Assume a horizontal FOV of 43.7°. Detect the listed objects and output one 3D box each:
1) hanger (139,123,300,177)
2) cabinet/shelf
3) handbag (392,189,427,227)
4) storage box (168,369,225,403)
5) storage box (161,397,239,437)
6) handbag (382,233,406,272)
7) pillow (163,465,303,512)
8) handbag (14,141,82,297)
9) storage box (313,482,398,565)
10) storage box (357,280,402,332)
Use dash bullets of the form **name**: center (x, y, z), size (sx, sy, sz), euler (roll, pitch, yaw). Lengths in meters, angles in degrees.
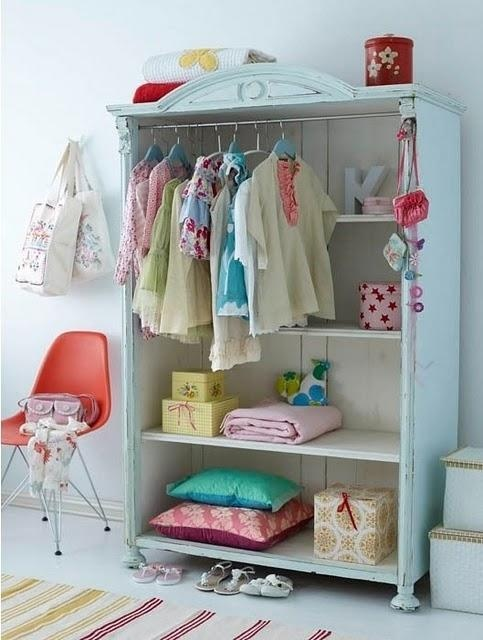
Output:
- **hanger**: center (-0.191, -0.734, 2.697), size (0.874, 0.317, 0.264), euler (10, 17, 42)
- **cabinet/shelf**: center (0.190, 0.043, 2.335), size (1.323, 1.943, 0.743), euler (-4, -4, 24)
- **handbag**: center (0.536, -0.352, 1.923), size (0.098, 0.118, 0.136), euler (-3, -4, 13)
- **storage box**: center (-0.175, 0.268, 2.526), size (0.148, 0.088, 0.147), euler (1, -1, 25)
- **storage box**: center (-0.154, 0.377, 2.476), size (0.179, 0.094, 0.177), euler (1, 0, 22)
- **handbag**: center (0.489, -0.218, 1.940), size (0.040, 0.109, 0.109), euler (-9, 27, -14)
- **pillow**: center (-0.041, 0.689, 2.450), size (0.366, 0.096, 0.217), euler (-1, -1, 27)
- **handbag**: center (-0.920, -0.499, 2.864), size (0.305, 0.752, 0.184), euler (-1, -4, -16)
- **storage box**: center (0.416, 0.733, 2.240), size (0.263, 0.240, 0.264), euler (-2, -3, 26)
- **storage box**: center (0.454, -0.055, 2.207), size (0.165, 0.171, 0.163), euler (3, 3, -14)
